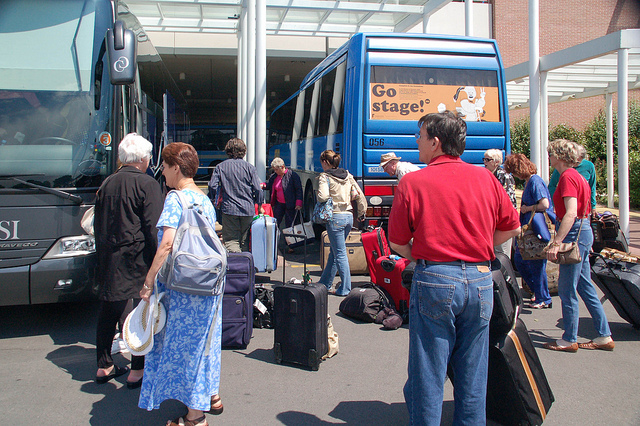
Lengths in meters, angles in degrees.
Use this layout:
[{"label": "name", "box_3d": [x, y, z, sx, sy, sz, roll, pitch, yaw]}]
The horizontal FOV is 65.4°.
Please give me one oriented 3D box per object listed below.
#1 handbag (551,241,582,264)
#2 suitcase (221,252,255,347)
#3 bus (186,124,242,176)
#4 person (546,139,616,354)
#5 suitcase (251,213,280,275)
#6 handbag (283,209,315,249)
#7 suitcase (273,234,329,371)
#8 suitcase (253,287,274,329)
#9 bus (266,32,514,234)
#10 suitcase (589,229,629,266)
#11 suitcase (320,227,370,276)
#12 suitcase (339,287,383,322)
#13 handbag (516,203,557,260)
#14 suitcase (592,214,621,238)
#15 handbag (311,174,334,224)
[{"label": "handbag", "box_3d": [3.051, 0.499, 6.208, 0.255, 0.274, 0.124, 4, 7, 41]}, {"label": "suitcase", "box_3d": [-1.120, 1.183, 6.775, 0.408, 1.250, 0.293, 0, 4, -7]}, {"label": "bus", "box_3d": [-7.039, -3.813, 29.897, 5.481, 2.978, 1.811, 4, 10, 23]}, {"label": "person", "box_3d": [3.466, 0.420, 6.651, 0.821, 2.764, 1.506, 4, 6, 38]}, {"label": "suitcase", "box_3d": [-0.954, 0.511, 8.758, 0.490, 0.965, 0.626, -1, 12, -11]}, {"label": "handbag", "box_3d": [-0.481, 0.300, 10.930, 0.670, 1.065, 0.306, -15, -18, 3]}, {"label": "suitcase", "box_3d": [-0.228, 1.134, 6.417, 0.717, 1.704, 0.507, 5, 10, 31]}, {"label": "suitcase", "box_3d": [-0.935, 1.430, 7.458, 0.258, 0.361, 0.512, 8, 34, 0]}, {"label": "bus", "box_3d": [1.303, -2.075, 13.784, 3.137, 4.552, 9.470, -1, 5, -19]}, {"label": "suitcase", "box_3d": [4.247, 0.530, 7.399, 0.284, 0.441, 0.409, -9, -7, -20]}, {"label": "suitcase", "box_3d": [0.508, 0.670, 9.691, 0.939, 1.020, 0.570, -6, 24, -5]}, {"label": "suitcase", "box_3d": [0.642, 1.394, 7.818, 0.698, 0.517, 0.646, 7, 2, 38]}, {"label": "handbag", "box_3d": [3.343, 0.262, 7.621, 0.577, 0.932, 0.477, -1, 5, 29]}, {"label": "suitcase", "box_3d": [4.455, 0.203, 7.831, 0.265, 0.385, 0.366, -7, 14, 0]}, {"label": "handbag", "box_3d": [0.103, -0.217, 8.268, 0.215, 0.806, 0.392, 17, 29, 39]}]
